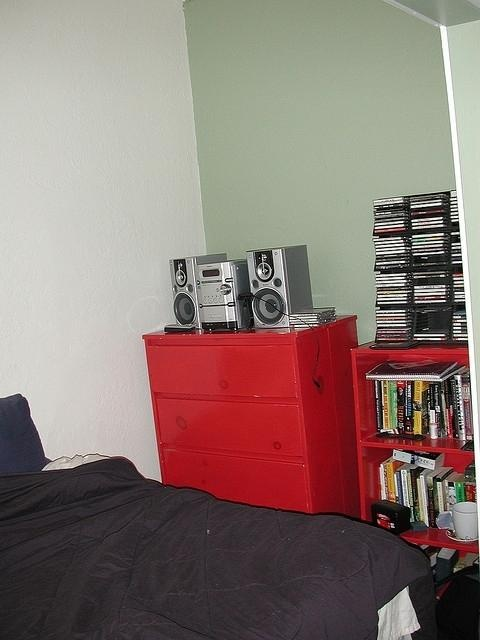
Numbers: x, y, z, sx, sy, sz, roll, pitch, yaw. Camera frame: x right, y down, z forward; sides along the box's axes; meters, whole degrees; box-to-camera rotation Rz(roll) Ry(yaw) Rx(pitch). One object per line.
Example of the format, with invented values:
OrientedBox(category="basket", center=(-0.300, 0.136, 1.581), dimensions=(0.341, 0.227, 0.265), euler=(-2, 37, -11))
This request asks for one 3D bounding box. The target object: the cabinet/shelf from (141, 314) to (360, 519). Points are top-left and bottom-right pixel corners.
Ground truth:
OrientedBox(category="cabinet/shelf", center=(0.043, 0.532, 2.954), dimensions=(0.892, 1.086, 0.641), euler=(-1, 16, 15))

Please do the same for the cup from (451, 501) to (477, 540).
OrientedBox(category="cup", center=(0.923, 0.844, 2.137), dimensions=(0.091, 0.165, 0.098), euler=(-4, 6, 0))

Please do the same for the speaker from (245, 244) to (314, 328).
OrientedBox(category="speaker", center=(0.204, -0.166, 2.637), dimensions=(0.316, 0.407, 0.208), euler=(-4, 6, 1))

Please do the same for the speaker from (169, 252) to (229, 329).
OrientedBox(category="speaker", center=(-0.238, -0.152, 2.965), dimensions=(0.224, 0.391, 0.283), euler=(-6, -3, 33))
